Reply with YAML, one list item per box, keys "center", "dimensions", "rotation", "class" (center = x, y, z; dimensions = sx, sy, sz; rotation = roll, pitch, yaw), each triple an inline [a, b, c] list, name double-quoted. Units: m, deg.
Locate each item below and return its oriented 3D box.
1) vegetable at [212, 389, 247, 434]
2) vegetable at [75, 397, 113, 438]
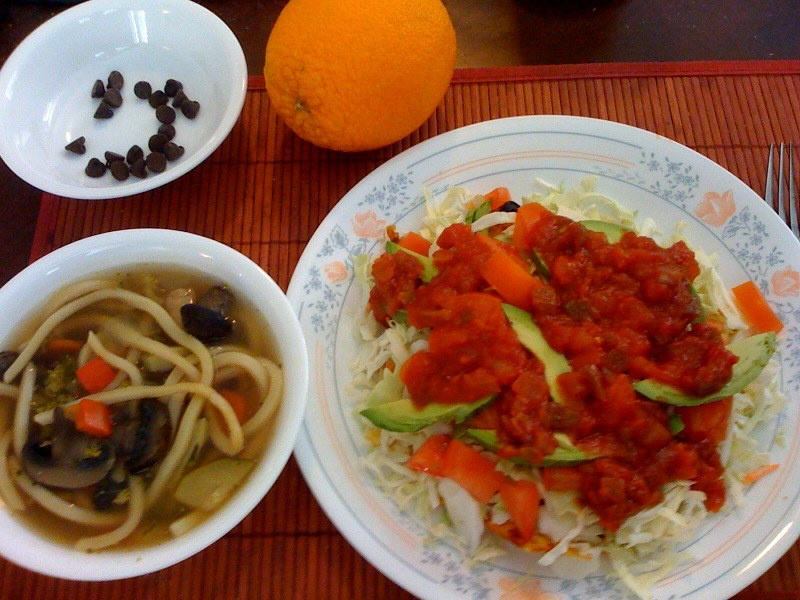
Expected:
- center: [-0.636, 0.408, 2.403]
  dimensions: [0.122, 0.062, 0.131]
  rotation: [-11, 78, 1]
  class: "vegetable"
- center: [-1.112, 0.431, 2.413]
  dimensions: [0.121, 0.095, 0.134]
  rotation: [1, 107, 14]
  class: "vegetable"
